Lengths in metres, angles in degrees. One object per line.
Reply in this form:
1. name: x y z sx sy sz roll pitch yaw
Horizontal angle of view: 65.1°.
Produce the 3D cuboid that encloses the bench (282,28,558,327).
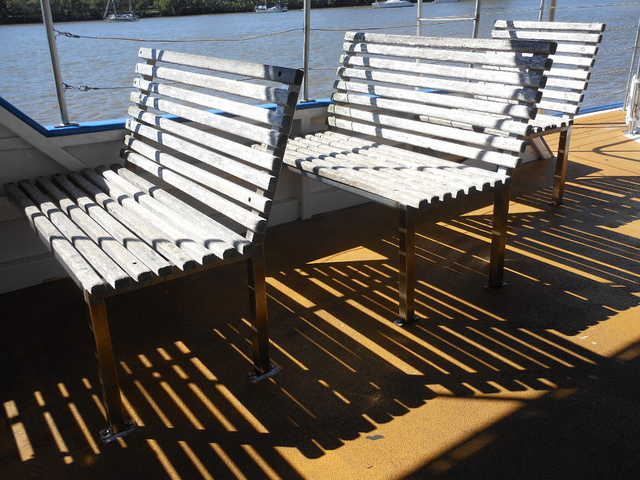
1. bench: 0.358 -0.520 2.878 0.949 0.939 1.356 -33 40 -19
